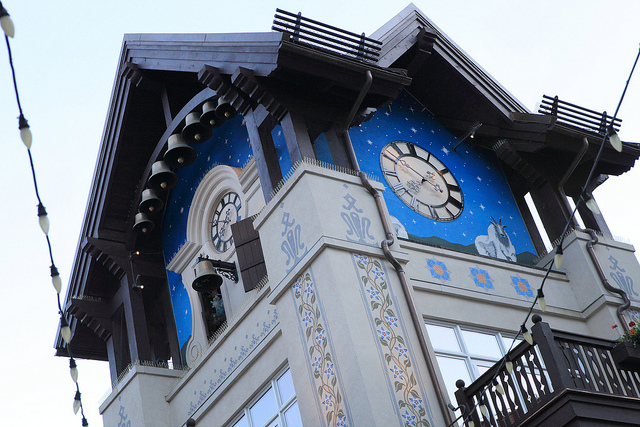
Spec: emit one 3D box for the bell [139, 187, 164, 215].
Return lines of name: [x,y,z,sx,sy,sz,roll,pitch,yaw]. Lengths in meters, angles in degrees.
bell: [-4.915,-0.258,24.446,0.657,0.797,0.728,-13,-47,-4]

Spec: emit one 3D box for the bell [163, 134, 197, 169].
bell: [-3.877,-1.782,23.250,0.764,0.915,0.892,-3,-63,-5]

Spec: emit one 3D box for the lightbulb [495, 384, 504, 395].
lightbulb: [3.595,3.523,16.884,0.155,0.189,0.162,-4,-50,-3]

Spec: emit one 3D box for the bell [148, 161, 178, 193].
bell: [-4.502,-1.081,24.029,0.729,0.871,0.825,-6,-63,-4]

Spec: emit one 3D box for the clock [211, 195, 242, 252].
clock: [-2.713,0.284,23.912,0.434,1.777,1.668,20,-56,-21]

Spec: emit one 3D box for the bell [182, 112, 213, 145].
bell: [-3.322,-2.319,22.723,0.712,0.850,0.802,-3,-52,1]

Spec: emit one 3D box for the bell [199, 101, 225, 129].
bell: [-2.846,-2.603,22.314,0.576,0.695,0.643,0,-45,-2]
